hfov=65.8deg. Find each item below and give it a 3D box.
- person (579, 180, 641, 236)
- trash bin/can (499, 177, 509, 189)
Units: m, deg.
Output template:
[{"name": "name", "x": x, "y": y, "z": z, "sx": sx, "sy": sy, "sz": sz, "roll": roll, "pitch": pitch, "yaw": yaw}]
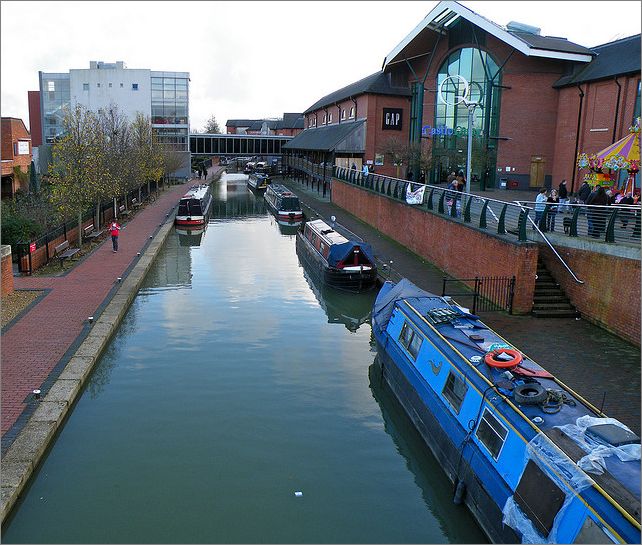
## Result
[{"name": "person", "x": 8.895, "y": -1.982, "z": 15.811, "sx": 1.359, "sy": 0.638, "sz": 2.661, "roll": 4, "pitch": 30, "yaw": 9}, {"name": "trash bin/can", "x": 13.174, "y": -6.348, "z": 35.650, "sx": 0.652, "sy": 0.778, "sz": 0.524, "roll": 8, "pitch": 14, "yaw": 20}]
